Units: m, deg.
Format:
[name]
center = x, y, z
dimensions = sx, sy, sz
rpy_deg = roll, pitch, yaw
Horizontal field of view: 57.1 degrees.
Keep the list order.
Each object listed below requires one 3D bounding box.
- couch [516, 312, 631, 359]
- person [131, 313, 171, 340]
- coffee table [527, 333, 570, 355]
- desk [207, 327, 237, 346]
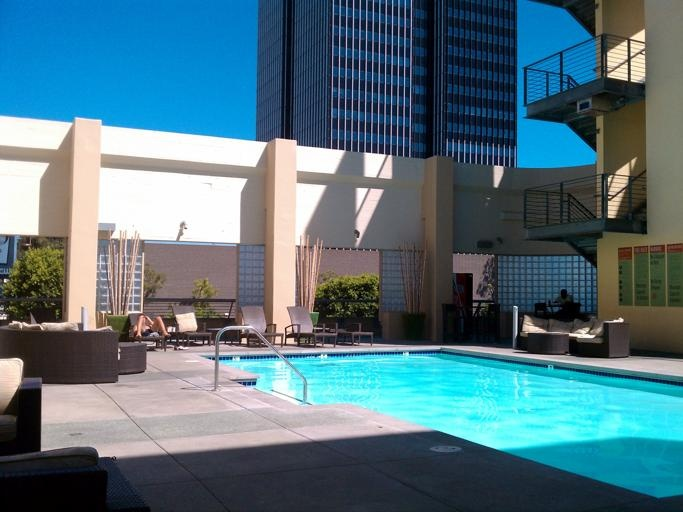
[couch]
center = 4.990, 1.715, 13.581
dimensions = 0.734, 0.886, 2.377
rpy_deg = 7, -7, -26
[person]
center = -4.280, 1.521, 13.932
dimensions = 0.708, 0.567, 1.249
rpy_deg = -1, -4, -19
[coffee table]
center = 4.256, 1.821, 13.175
dimensions = 0.525, 0.365, 0.530
rpy_deg = 2, -3, -35
[desk]
center = -3.126, 2.053, 16.330
dimensions = 0.618, 0.345, 2.727
rpy_deg = -1, -5, -17
